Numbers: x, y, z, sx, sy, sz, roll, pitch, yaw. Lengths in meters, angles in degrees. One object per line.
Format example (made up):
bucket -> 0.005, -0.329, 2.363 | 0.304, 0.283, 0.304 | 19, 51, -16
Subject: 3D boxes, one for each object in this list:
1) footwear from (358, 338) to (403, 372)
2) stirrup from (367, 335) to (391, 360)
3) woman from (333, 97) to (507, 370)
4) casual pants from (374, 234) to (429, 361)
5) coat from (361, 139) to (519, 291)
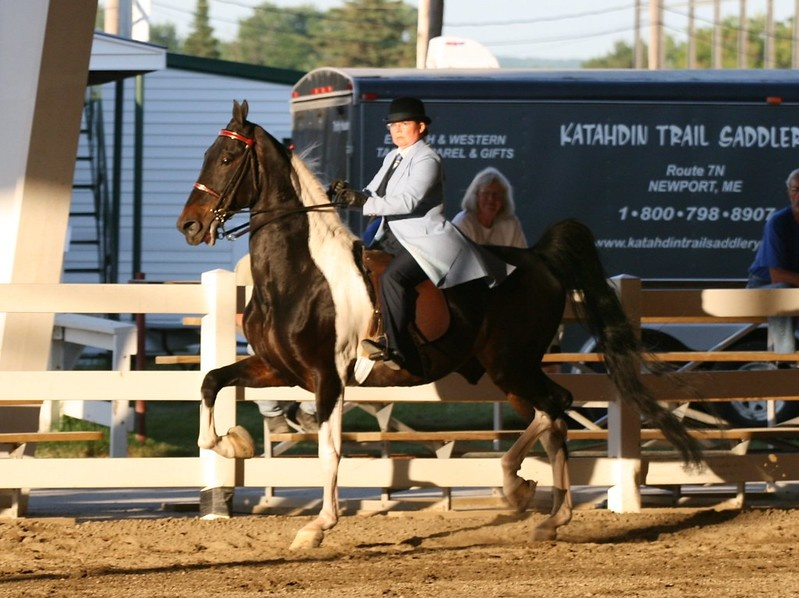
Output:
footwear -> -0.164, 0.465, 12.952 | 0.362, 0.140, 0.211 | 40, -38, -21
stirrup -> -0.201, 0.432, 12.887 | 0.228, 0.154, 0.107 | 17, 5, -17
woman -> 0.225, -0.590, 13.399 | 1.882, 2.337, 1.101 | -1, 4, -38
casual pants -> 0.013, 0.032, 13.133 | 0.316, 0.867, 0.616 | -5, 1, -32
coat -> 0.278, -0.765, 13.417 | 1.825, 1.248, 0.837 | -3, 4, -19
